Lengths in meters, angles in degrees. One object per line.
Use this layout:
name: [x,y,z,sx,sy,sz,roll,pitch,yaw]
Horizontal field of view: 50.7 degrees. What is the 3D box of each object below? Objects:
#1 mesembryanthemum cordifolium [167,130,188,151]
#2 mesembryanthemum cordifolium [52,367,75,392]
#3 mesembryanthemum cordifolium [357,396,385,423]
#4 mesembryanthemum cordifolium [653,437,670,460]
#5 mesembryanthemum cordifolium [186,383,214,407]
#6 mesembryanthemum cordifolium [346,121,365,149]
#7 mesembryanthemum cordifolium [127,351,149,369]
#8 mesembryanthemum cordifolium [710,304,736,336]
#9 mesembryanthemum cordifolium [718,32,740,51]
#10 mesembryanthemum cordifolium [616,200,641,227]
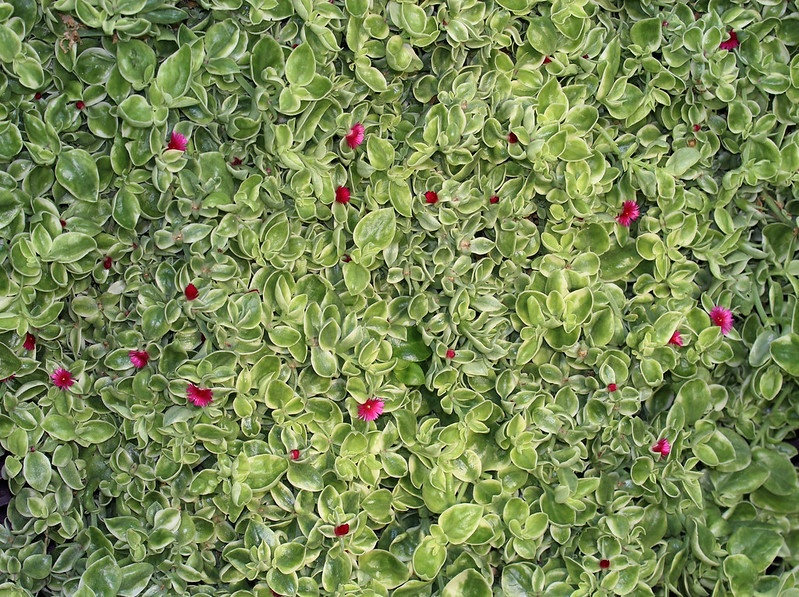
mesembryanthemum cordifolium: [-0.599,-0.422,2.284,0.046,0.023,0.055,22,89,-2]
mesembryanthemum cordifolium: [-0.919,0.221,2.304,0.049,0.026,0.065,6,87,6]
mesembryanthemum cordifolium: [-0.078,0.307,2.330,0.074,0.019,0.062,-2,85,1]
mesembryanthemum cordifolium: [0.745,0.424,2.395,0.043,0.024,0.056,2,98,7]
mesembryanthemum cordifolium: [-0.542,0.265,2.291,0.069,0.021,0.057,8,85,1]
mesembryanthemum cordifolium: [-0.122,-0.448,2.329,0.048,0.023,0.066,24,94,-24]
mesembryanthemum cordifolium: [-0.713,0.169,2.298,0.039,0.019,0.051,7,82,2]
mesembryanthemum cordifolium: [0.929,0.061,2.430,0.071,0.032,0.073,47,62,-20]
mesembryanthemum cordifolium: [0.953,-0.730,2.430,0.060,0.017,0.049,-44,86,-3]
mesembryanthemum cordifolium: [0.654,-0.242,2.411,0.060,0.032,0.075,-3,116,-28]
